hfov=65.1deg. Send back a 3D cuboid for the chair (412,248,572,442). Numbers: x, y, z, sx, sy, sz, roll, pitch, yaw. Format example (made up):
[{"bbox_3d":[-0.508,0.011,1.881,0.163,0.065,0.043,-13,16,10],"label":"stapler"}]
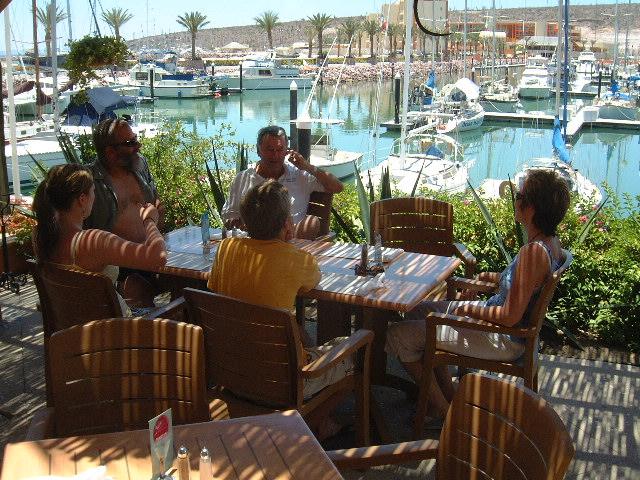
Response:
[{"bbox_3d":[1.021,0.541,3.288,0.883,1.461,0.920,4,5,16],"label":"chair"}]

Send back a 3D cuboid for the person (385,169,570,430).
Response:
[{"bbox_3d":[1.077,0.136,3.703,1.284,2.355,1.010,7,13,30],"label":"person"}]

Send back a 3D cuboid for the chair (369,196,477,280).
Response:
[{"bbox_3d":[0.792,-0.121,4.169,0.627,1.074,0.686,-1,12,7],"label":"chair"}]

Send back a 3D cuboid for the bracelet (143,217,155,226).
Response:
[{"bbox_3d":[-1.105,-0.128,3.226,0.073,0.053,0.069,5,-13,-4],"label":"bracelet"}]

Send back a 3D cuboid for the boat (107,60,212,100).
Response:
[{"bbox_3d":[-13.370,-13.344,42.737,6.744,2.929,3.628,3,14,2],"label":"boat"}]

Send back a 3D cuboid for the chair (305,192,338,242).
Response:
[{"bbox_3d":[0.022,-0.223,4.447,0.282,0.586,0.322,5,11,15],"label":"chair"}]
